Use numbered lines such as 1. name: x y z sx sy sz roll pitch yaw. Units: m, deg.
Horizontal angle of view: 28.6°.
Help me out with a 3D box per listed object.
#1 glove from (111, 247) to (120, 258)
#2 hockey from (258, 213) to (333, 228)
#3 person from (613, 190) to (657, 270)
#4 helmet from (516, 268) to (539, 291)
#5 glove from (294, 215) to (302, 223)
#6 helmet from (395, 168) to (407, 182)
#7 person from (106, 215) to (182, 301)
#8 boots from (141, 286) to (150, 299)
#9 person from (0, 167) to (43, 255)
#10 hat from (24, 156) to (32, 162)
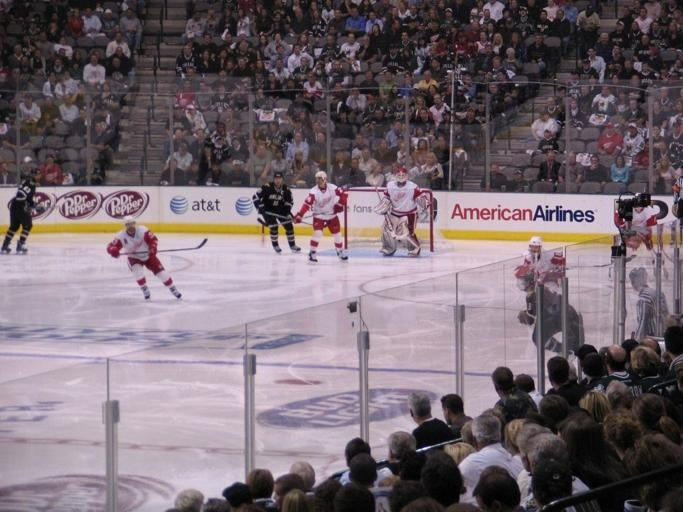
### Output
1. glove: -3.494 -0.084 20.552 0.137 0.163 0.073 -2 12 -10
2. hockey: -1.001 -0.598 24.793 1.094 0.143 0.382 4 26 -9
3. person: 3.707 -0.391 17.282 0.465 0.785 0.414 2 -14 -15
4. helmet: 2.108 0.272 15.261 0.238 0.226 0.131 -15 12 -31
5. glove: -0.800 -0.682 24.160 0.118 0.104 0.126 -13 8 2
6. helmet: 1.088 -1.466 24.338 0.241 0.270 0.293 -1 -1 3
7. person: -3.114 0.015 20.298 0.791 1.200 0.743 -11 11 -9
8. boots: -2.945 0.543 20.156 0.086 0.225 0.108 -11 5 -5
9. person: -6.039 -0.887 24.997 0.944 1.467 1.980 -12 11 -12
10. hat: -6.138 -1.903 26.212 0.132 0.077 0.168 0 -2 -16
